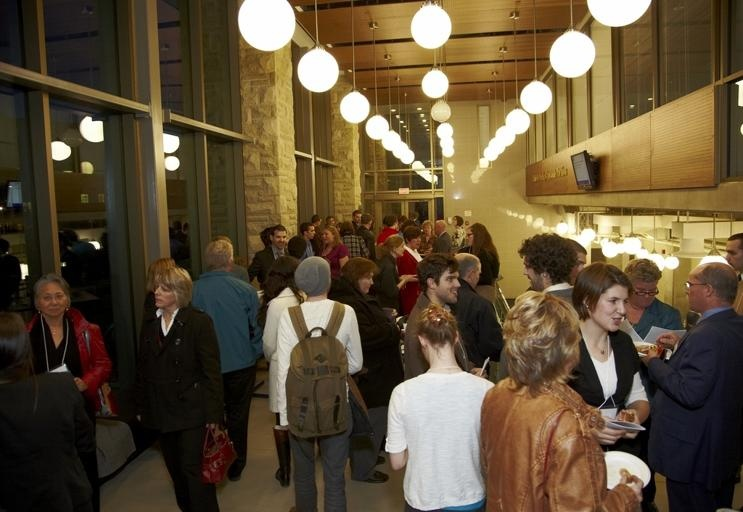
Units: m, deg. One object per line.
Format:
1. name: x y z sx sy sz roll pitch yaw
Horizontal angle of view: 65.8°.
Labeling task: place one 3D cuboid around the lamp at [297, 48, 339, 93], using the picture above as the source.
1. lamp: -0.476 -1.637 5.007 0.323 0.369 0.215 0 4 -7

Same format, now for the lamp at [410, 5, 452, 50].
1. lamp: 0.546 -2.103 5.284 0.380 0.491 0.406 -6 20 10

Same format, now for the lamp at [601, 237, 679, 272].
1. lamp: 3.535 -0.041 7.462 0.369 0.411 1.225 10 1 -26

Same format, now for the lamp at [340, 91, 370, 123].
1. lamp: -0.181 -1.621 6.188 0.266 0.344 0.358 1 4 6

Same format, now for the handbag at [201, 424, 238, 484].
1. handbag: -1.159 1.501 4.275 0.209 0.468 0.181 -1 5 -19

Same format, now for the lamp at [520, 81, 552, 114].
1. lamp: 1.853 -1.790 6.403 0.279 0.416 0.609 2 5 21

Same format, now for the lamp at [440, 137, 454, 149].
1. lamp: 1.577 -2.404 12.223 0.307 0.165 0.322 -5 -4 32

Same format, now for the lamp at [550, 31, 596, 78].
1. lamp: 1.726 -1.751 4.937 0.334 0.447 0.353 2 5 18

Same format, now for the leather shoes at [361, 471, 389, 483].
1. leather shoes: 0.041 1.984 5.190 0.269 0.127 0.096 -3 3 -3

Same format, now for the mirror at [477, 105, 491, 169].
1. mirror: 3.146 -3.347 16.122 0.385 1.784 0.862 1 4 12

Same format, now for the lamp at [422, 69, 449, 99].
1. lamp: 0.758 -2.064 6.900 0.260 0.381 0.714 1 4 5

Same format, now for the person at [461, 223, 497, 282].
1. person: 1.357 -0.004 7.263 0.436 0.753 0.662 0 0 -5

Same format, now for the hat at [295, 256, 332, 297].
1. hat: -0.408 0.158 4.288 0.216 0.302 0.260 5 -34 10

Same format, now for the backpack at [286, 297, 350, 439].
1. backpack: -0.379 0.856 4.087 0.452 0.995 0.287 0 4 -7

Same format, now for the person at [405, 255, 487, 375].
1. person: 0.526 0.466 4.810 0.691 1.286 0.874 -3 4 3
